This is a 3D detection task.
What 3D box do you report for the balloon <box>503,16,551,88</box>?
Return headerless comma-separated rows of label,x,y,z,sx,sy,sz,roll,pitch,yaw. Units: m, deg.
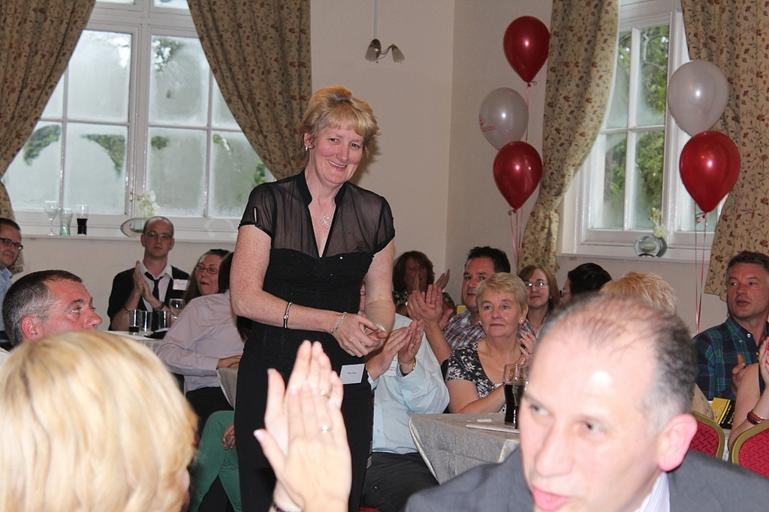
balloon,1.216,-1.719,5.304,0.385,0.651,0.401,-1,-14,8
